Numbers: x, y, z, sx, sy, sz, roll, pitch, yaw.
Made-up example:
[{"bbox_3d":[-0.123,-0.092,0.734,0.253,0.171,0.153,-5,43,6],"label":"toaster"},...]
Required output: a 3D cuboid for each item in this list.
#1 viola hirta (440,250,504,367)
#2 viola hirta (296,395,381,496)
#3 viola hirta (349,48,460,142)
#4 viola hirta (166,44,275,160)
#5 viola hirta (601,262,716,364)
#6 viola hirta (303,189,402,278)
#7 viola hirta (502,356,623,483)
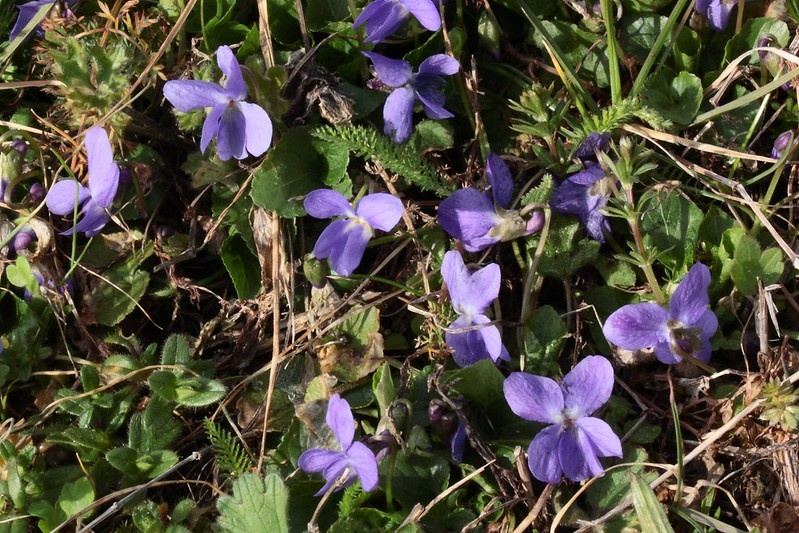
[{"bbox_3d":[0.200,0.132,2.264,0.117,0.284,0.258,-5,14,-33],"label":"viola hirta"},{"bbox_3d":[-0.142,0.473,2.200,0.143,0.343,0.228,2,12,39],"label":"viola hirta"},{"bbox_3d":[0.048,-0.542,2.393,0.268,0.277,0.216,-25,47,-11],"label":"viola hirta"},{"bbox_3d":[-0.478,-0.502,2.300,0.318,0.143,0.373,24,16,17],"label":"viola hirta"},{"bbox_3d":[0.717,0.105,2.264,0.293,0.264,0.112,-51,14,11],"label":"viola hirta"},{"bbox_3d":[-0.139,-0.128,2.321,0.268,0.329,0.132,20,58,-1],"label":"viola hirta"},{"bbox_3d":[0.440,0.446,2.150,0.285,0.325,0.221,-8,45,5],"label":"viola hirta"}]
